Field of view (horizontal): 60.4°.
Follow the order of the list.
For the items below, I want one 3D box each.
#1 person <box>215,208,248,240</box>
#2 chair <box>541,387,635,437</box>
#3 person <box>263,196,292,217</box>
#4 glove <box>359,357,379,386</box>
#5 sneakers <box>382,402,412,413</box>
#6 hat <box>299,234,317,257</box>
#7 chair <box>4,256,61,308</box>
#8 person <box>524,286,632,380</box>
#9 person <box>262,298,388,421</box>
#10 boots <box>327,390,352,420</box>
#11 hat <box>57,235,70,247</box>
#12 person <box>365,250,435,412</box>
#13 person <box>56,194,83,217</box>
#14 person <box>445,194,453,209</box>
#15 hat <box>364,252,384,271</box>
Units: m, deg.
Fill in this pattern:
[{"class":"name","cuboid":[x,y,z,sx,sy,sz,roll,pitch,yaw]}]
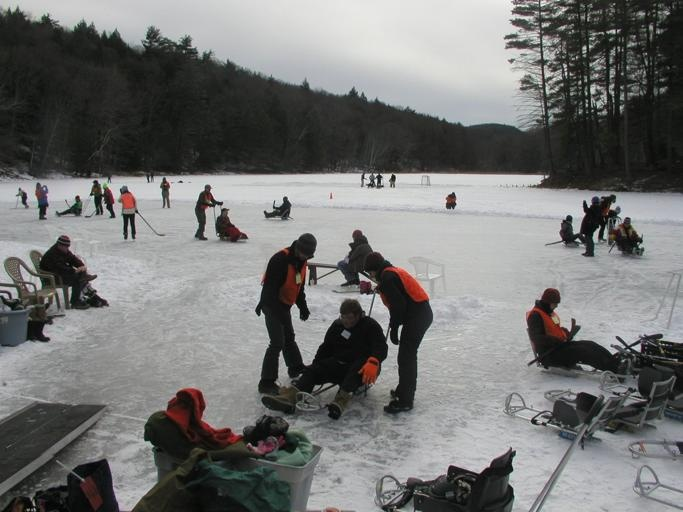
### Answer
[{"class":"person","cuboid":[-3.378,-0.948,17.839,0.865,0.961,0.577,6,11,35]},{"class":"chair","cuboid":[2.728,1.727,6.604,0.614,0.573,0.791,0,4,-34]},{"class":"person","cuboid":[-2.621,-2.098,24.827,0.931,0.902,2.432,-1,8,-3]},{"class":"glove","cuboid":[0.329,1.356,6.875,0.241,0.080,0.296,19,50,24]},{"class":"sneakers","cuboid":[0.665,1.815,7.072,0.323,0.127,0.135,2,-1,0]},{"class":"hat","cuboid":[-0.436,-0.136,7.369,0.224,0.314,0.303,-1,9,-4]},{"class":"chair","cuboid":[-5.270,0.459,10.035,0.806,0.981,0.730,4,12,8]},{"class":"person","cuboid":[3.298,1.010,7.975,0.720,1.078,1.488,-6,6,-42]},{"class":"person","cuboid":[-0.005,1.154,7.106,1.132,0.902,1.633,5,18,34]},{"class":"boots","cuboid":[-0.004,1.742,6.931,0.193,0.322,0.423,4,9,26]},{"class":"hat","cuboid":[-4.965,-0.277,10.384,0.273,0.197,0.195,-2,12,-16]},{"class":"person","cuboid":[0.705,0.914,7.126,0.753,1.877,0.599,1,9,9]},{"class":"person","cuboid":[-10.689,-1.965,23.096,0.803,0.799,1.504,-2,8,-13]},{"class":"person","cuboid":[5.324,-2.678,28.563,0.388,0.768,0.457,0,9,4]},{"class":"hat","cuboid":[0.396,0.070,7.168,0.201,0.233,0.249,2,7,-7]}]
